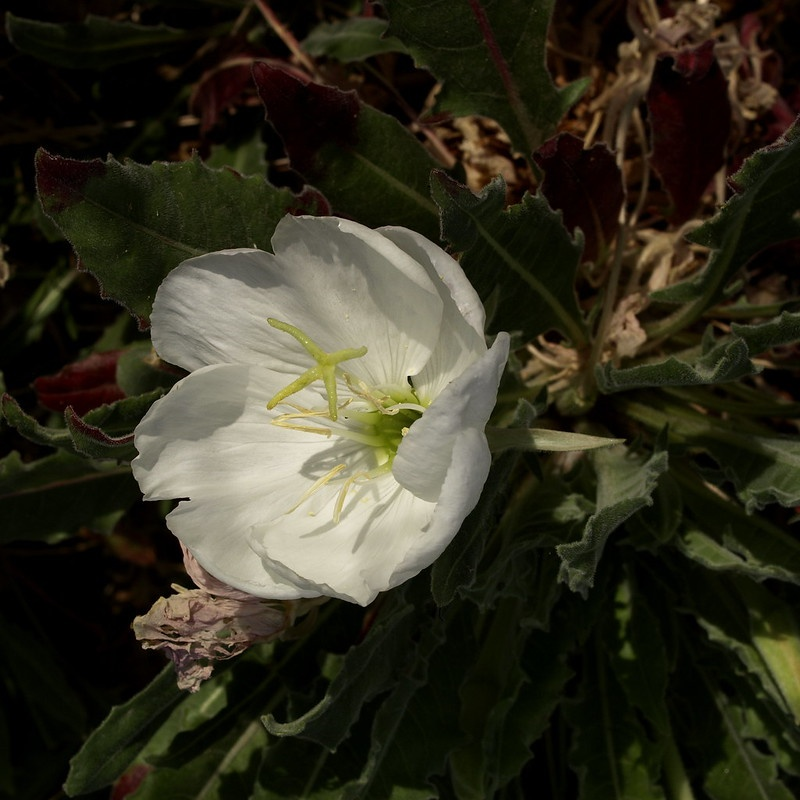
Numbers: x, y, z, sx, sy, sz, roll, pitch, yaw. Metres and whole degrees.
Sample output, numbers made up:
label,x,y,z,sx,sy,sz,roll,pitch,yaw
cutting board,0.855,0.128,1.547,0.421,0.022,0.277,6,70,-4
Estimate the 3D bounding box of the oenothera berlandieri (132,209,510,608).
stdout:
label,x,y,z,sx,sy,sz,roll,pitch,yaw
oenothera berlandieri,-0.143,0.062,1.188,0.406,0.659,0.520,-7,95,-27
